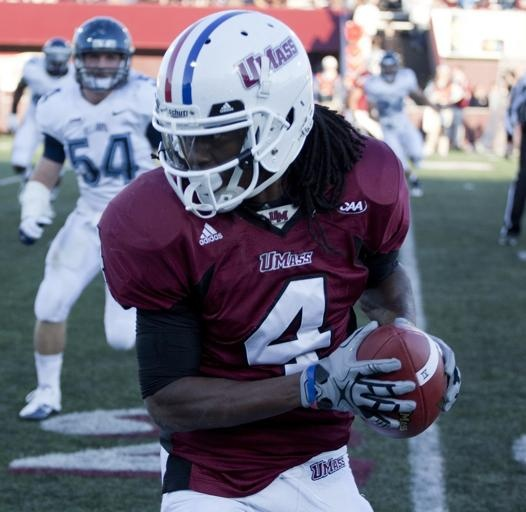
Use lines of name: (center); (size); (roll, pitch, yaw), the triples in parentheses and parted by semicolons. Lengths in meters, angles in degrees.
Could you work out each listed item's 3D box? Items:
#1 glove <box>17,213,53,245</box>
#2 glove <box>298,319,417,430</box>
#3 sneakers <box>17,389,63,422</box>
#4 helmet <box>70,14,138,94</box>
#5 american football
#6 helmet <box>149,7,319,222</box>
glove: (-0.884, -0.108, 3.314); (0.054, 0.103, 0.141); (-20, 18, 42)
glove: (0.209, 0.266, 1.872); (0.286, 0.192, 0.081); (-6, -7, 16)
sneakers: (-0.793, 0.539, 2.999); (0.113, 0.068, 0.195); (0, 17, 4)
helmet: (-0.610, -0.789, 3.304); (0.265, 0.260, 0.302); (-1, 28, -7)
american football: (0.307, 0.314, 1.951); (0.235, 0.250, 0.239); (0, -1, -18)
helmet: (-0.054, -0.328, 1.909); (0.389, 0.439, 0.265); (-4, 19, -8)
